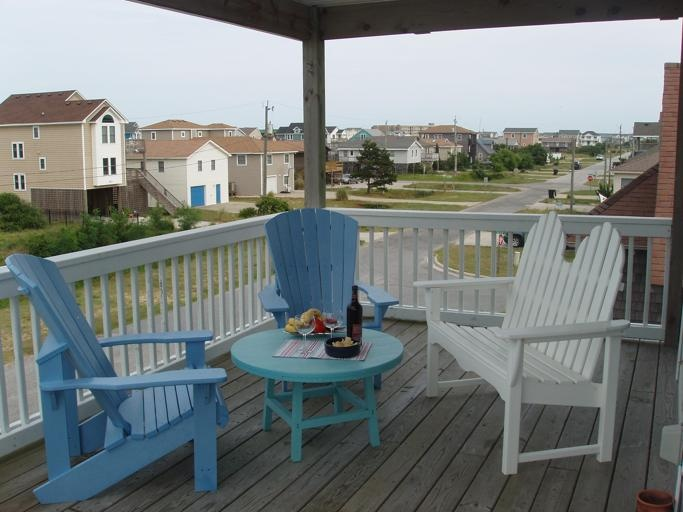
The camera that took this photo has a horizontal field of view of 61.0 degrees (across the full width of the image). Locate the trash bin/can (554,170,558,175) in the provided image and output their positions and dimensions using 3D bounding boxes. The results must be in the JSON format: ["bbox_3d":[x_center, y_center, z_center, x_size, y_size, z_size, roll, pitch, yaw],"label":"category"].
[{"bbox_3d":[23.324,-9.457,63.872,0.512,0.704,0.511,0,11,8],"label":"trash bin/can"}]

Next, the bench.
[{"bbox_3d":[0.965,0.413,3.285,0.744,1.204,1.293,-2,8,-9],"label":"bench"}]

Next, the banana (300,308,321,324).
[{"bbox_3d":[-0.178,0.330,3.193,0.069,0.033,0.090,-10,4,5],"label":"banana"}]

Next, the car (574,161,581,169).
[{"bbox_3d":[26.291,-10.437,65.139,0.926,0.861,1.801,0,8,18],"label":"car"}]

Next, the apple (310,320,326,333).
[{"bbox_3d":[-0.134,0.390,3.210,0.061,0.056,0.073,6,19,31],"label":"apple"}]

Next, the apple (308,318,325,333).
[{"bbox_3d":[-0.138,0.386,3.214,0.066,0.058,0.077,-7,19,23],"label":"apple"}]

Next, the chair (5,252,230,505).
[{"bbox_3d":[-0.903,0.457,3.128,1.083,1.424,0.984,-2,12,-12],"label":"chair"}]
